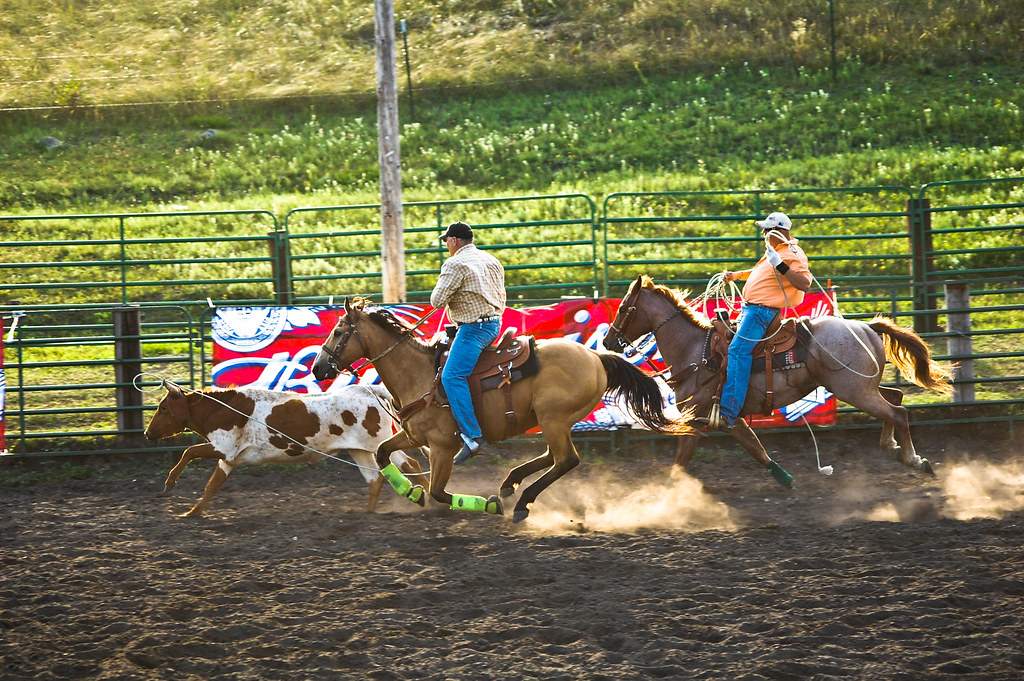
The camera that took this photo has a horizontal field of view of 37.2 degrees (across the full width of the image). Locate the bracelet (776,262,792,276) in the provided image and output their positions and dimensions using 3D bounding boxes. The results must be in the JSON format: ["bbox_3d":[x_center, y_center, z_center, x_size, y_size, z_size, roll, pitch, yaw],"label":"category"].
[{"bbox_3d":[5.284,-1.405,29.943,0.267,0.259,0.237,-43,-7,-10],"label":"bracelet"}]

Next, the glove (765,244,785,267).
[{"bbox_3d":[5.237,-1.701,30.001,0.167,0.409,0.311,-23,-23,-27],"label":"glove"}]

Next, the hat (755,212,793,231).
[{"bbox_3d":[5.233,-2.377,30.239,0.658,0.244,0.360,1,8,7],"label":"hat"}]
